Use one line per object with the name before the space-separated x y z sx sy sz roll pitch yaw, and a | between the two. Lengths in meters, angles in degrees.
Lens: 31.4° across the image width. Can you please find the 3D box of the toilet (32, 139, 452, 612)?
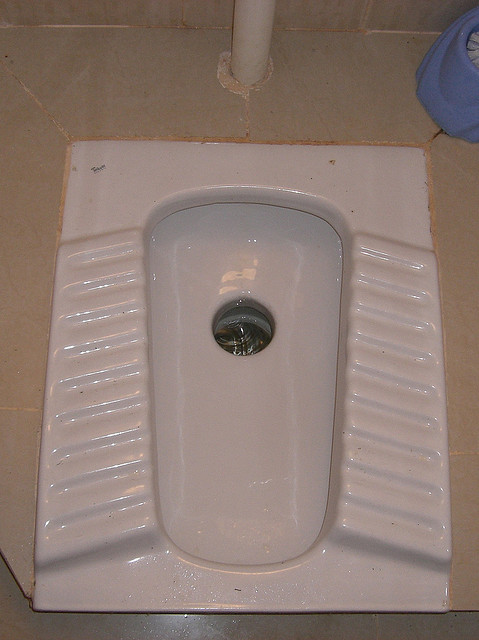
toilet | 0.002 0.088 1.344 0.716 0.271 0.616 -2 75 0
